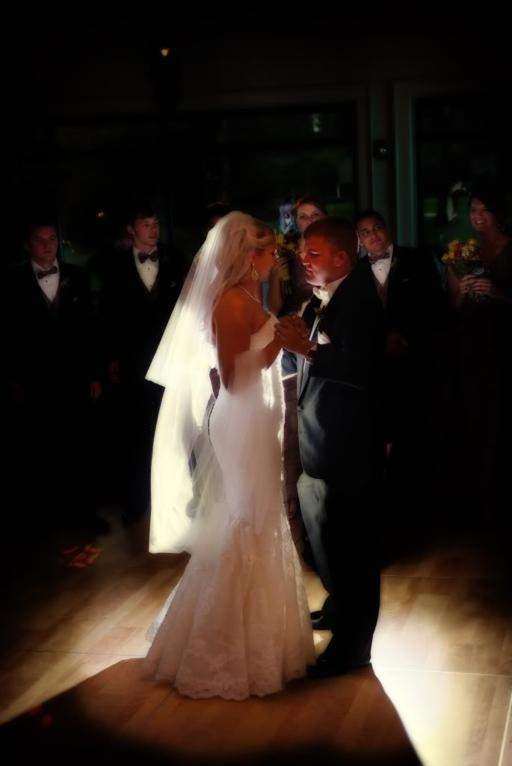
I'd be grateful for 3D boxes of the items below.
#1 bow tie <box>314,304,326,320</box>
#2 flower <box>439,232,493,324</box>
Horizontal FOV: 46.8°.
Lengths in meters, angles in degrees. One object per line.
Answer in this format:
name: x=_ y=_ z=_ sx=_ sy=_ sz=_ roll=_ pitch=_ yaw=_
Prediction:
bow tie: x=0.201 y=-0.222 z=1.876 sx=0.031 sy=0.038 sz=0.088 roll=0 pitch=0 yaw=4
flower: x=1.179 y=-0.526 z=3.343 sx=0.180 sy=0.508 sz=0.230 roll=-6 pitch=-8 yaw=21
